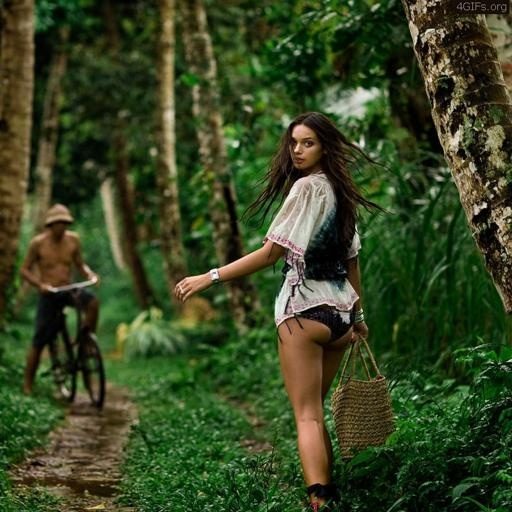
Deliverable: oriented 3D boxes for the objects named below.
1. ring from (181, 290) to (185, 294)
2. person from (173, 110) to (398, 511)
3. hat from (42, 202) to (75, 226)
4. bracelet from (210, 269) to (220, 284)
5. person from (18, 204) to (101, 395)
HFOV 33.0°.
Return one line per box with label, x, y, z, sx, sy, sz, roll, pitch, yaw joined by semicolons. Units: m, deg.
ring;-0.421;0.201;4.896;0.024;0.018;0.006;-5;-4;18
person;0.281;0.289;5.148;0.591;2.302;1.053;-4;-3;41
hat;-1.653;-0.345;7.149;0.229;0.185;0.272;-2;-2;-14
bracelet;-0.241;0.114;4.912;0.066;0.082;0.081;-4;-30;-13
person;-1.730;0.375;7.421;0.624;1.594;0.919;-2;-2;-25
